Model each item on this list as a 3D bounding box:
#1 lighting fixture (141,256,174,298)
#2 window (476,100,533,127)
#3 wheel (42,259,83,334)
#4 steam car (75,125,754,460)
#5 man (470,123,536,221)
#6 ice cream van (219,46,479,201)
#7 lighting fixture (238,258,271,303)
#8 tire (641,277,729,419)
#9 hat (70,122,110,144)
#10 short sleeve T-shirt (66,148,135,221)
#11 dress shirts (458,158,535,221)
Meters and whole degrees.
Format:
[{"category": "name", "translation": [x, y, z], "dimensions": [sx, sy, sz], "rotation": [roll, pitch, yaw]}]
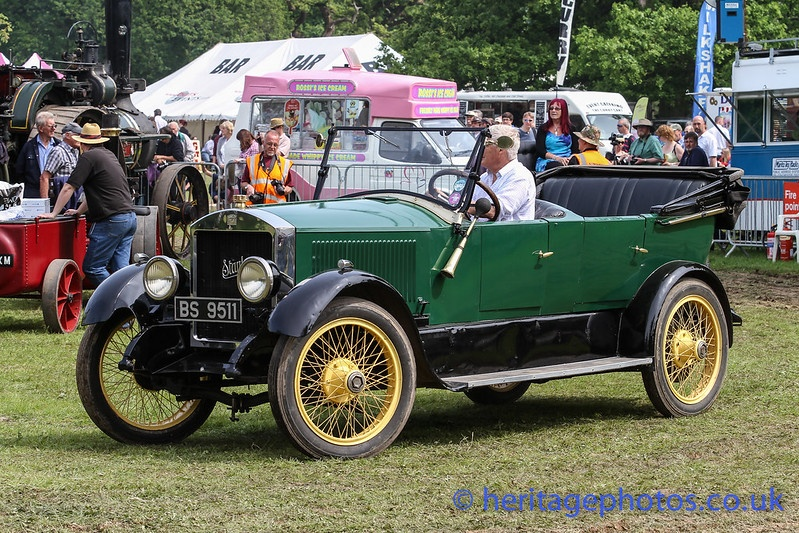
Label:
[{"category": "lighting fixture", "translation": [-2.042, 0.104, 9.589], "dimensions": [0.344, 0.368, 0.147], "rotation": [-2, -2, 18]}, {"category": "window", "translation": [2.625, -3.859, 28.676], "dimensions": [1.601, 0.759, 0.625], "rotation": [0, 7, 8]}, {"category": "wheel", "translation": [-4.022, 0.359, 13.453], "dimensions": [0.230, 0.988, 0.869], "rotation": [-3, 1, 23]}, {"category": "steam car", "translation": [0.463, 0.242, 10.366], "dimensions": [5.659, 2.497, 2.806], "rotation": [0, -1, -37]}, {"category": "man", "translation": [0.925, -0.844, 10.444], "dimensions": [0.627, 0.935, 0.731], "rotation": [-9, 18, -21]}, {"category": "ice cream van", "translation": [-0.673, -2.551, 18.648], "dimensions": [4.101, 2.663, 2.380], "rotation": [-1, 3, 22]}, {"category": "lighting fixture", "translation": [-1.172, 0.112, 9.189], "dimensions": [0.333, 0.344, 0.144], "rotation": [6, 2, 26]}, {"category": "tire", "translation": [2.605, 0.739, 10.466], "dimensions": [1.099, 1.175, 0.373], "rotation": [13, -2, -42]}, {"category": "hat", "translation": [-3.819, -1.631, 13.921], "dimensions": [0.522, 0.223, 0.580], "rotation": [-1, 6, -18]}, {"category": "short sleeve T-shirt", "translation": [-3.525, -0.989, 13.571], "dimensions": [0.598, 0.922, 0.863], "rotation": [-5, 2, 13]}, {"category": "dress shirts", "translation": [0.934, -0.717, 10.463], "dimensions": [0.583, 0.626, 0.531], "rotation": [3, -2, -25]}]
